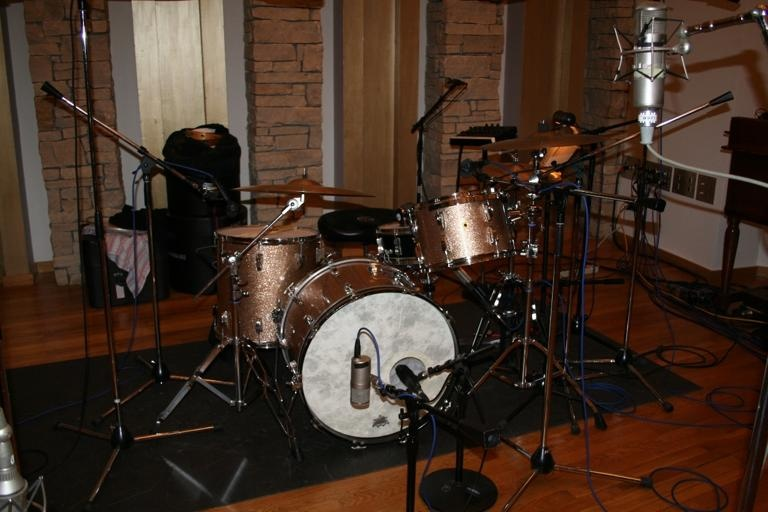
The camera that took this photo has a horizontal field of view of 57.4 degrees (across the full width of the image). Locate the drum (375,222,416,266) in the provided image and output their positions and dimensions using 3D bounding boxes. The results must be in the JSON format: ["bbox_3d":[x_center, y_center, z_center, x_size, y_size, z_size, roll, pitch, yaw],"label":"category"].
[{"bbox_3d":[0.111,-0.093,4.606,0.301,0.200,0.285,-1,8,0],"label":"drum"}]

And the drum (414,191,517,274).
[{"bbox_3d":[0.438,-0.150,4.365,0.550,0.344,0.530,-12,-6,-1],"label":"drum"}]

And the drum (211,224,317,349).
[{"bbox_3d":[-0.726,0.163,4.660,0.758,0.682,0.716,-3,12,-21],"label":"drum"}]
